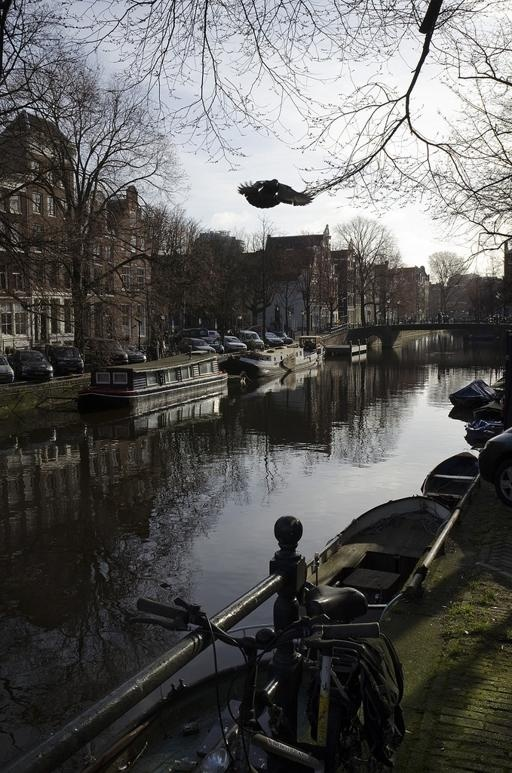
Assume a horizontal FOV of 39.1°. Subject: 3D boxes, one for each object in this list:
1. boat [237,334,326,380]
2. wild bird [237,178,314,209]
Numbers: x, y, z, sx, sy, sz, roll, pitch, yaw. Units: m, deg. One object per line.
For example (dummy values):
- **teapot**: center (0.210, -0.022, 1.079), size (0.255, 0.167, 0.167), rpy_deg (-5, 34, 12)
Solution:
- **boat**: center (1.747, -1.803, 51.711), size (2.313, 2.542, 11.920), rpy_deg (6, 11, 21)
- **wild bird**: center (0.183, -1.450, 5.431), size (0.556, 0.211, 0.284), rpy_deg (-8, -2, -34)
